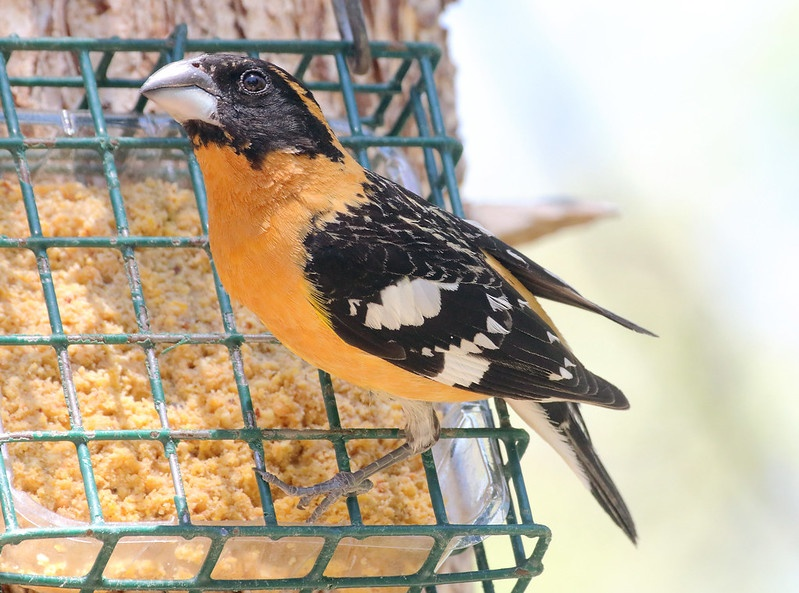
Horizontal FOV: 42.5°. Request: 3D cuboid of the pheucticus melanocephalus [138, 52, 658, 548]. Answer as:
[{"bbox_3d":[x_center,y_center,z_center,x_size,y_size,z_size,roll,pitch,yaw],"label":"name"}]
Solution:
[{"bbox_3d":[0.023,0.022,3.460,1.904,0.678,1.408,1,-82,-32],"label":"pheucticus melanocephalus"}]
